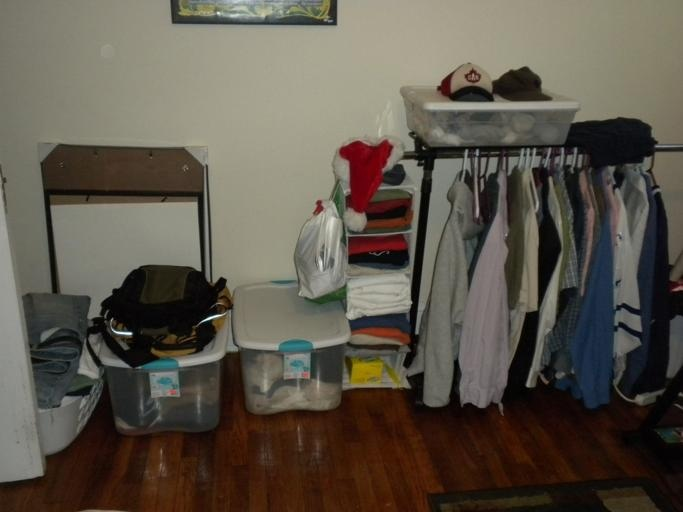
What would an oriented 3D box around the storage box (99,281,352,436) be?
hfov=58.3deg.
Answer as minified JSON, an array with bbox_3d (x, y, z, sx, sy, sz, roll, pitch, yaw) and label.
[{"bbox_3d":[-0.557,0.520,3.242,0.958,0.437,0.738,-3,31,-6],"label":"storage box"}]

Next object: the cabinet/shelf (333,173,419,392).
[{"bbox_3d":[0.166,0.119,3.233,0.385,1.349,0.707,0,22,-2],"label":"cabinet/shelf"}]

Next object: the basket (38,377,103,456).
[{"bbox_3d":[-1.370,0.793,3.066,0.276,0.322,0.175,-13,20,-33],"label":"basket"}]

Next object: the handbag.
[{"bbox_3d":[-0.918,0.215,3.122,0.622,0.266,0.291,-4,18,-8],"label":"handbag"}]

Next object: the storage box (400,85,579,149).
[{"bbox_3d":[0.751,-0.718,3.161,0.832,0.291,0.430,-3,18,-5],"label":"storage box"}]
